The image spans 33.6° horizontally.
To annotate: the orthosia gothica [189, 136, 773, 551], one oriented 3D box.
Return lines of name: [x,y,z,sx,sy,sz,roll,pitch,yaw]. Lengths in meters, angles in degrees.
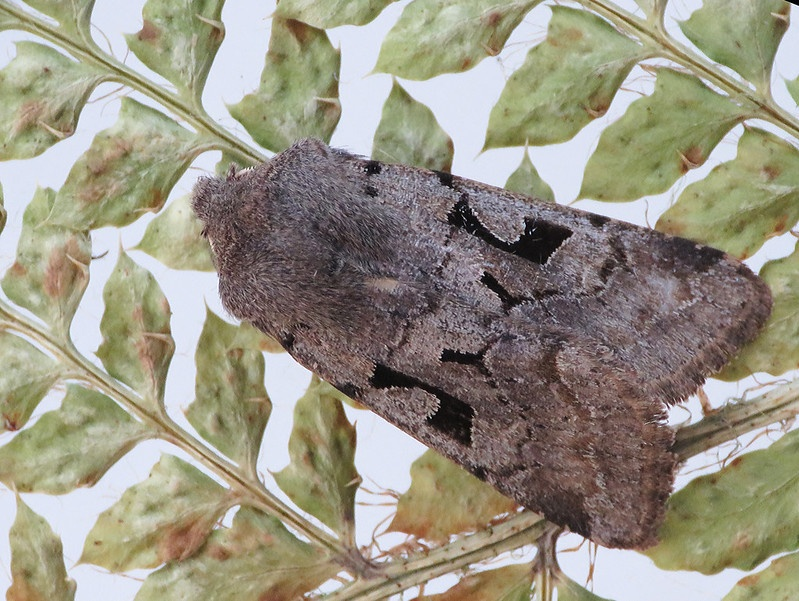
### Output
orthosia gothica: [0.316,0.007,4.986,1.885,0.403,1.154,27,81,13]
